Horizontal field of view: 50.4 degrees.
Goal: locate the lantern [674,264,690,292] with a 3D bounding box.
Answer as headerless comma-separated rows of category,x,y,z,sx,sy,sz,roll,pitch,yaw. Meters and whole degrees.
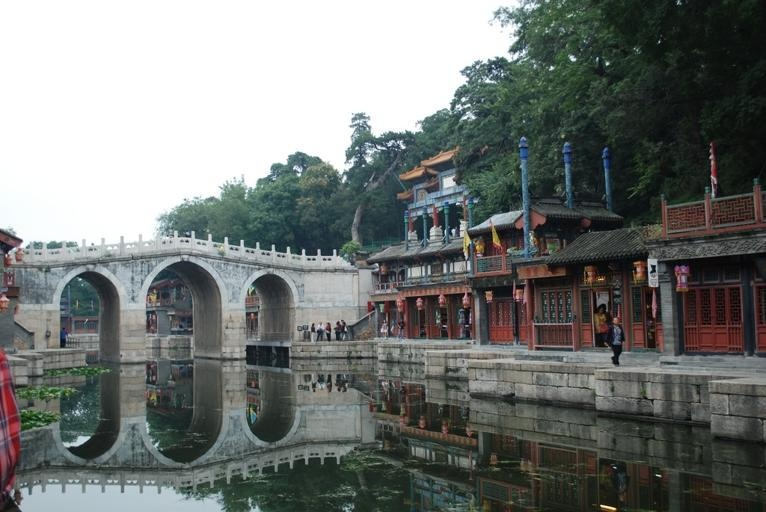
lantern,10.377,0.814,28.175,0.484,0.960,0.786,-2,2,21

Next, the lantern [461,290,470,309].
lantern,4.339,2.277,42.333,0.387,0.330,0.934,-24,-34,4

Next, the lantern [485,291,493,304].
lantern,5.099,1.930,37.982,0.443,0.589,0.438,-1,-3,-21

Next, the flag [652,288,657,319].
flag,10.077,1.822,30.180,0.214,1.220,1.381,-2,2,19

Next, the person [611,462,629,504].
person,5.931,5.719,20.439,0.451,0.674,1.439,2,19,19

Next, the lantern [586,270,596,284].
lantern,8.171,0.865,31.956,0.421,0.787,0.430,1,1,21

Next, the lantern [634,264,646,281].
lantern,9.627,0.577,30.432,0.403,0.649,0.294,-3,2,9

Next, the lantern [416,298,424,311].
lantern,2.187,2.787,47.040,0.540,0.698,0.537,-3,4,-29
